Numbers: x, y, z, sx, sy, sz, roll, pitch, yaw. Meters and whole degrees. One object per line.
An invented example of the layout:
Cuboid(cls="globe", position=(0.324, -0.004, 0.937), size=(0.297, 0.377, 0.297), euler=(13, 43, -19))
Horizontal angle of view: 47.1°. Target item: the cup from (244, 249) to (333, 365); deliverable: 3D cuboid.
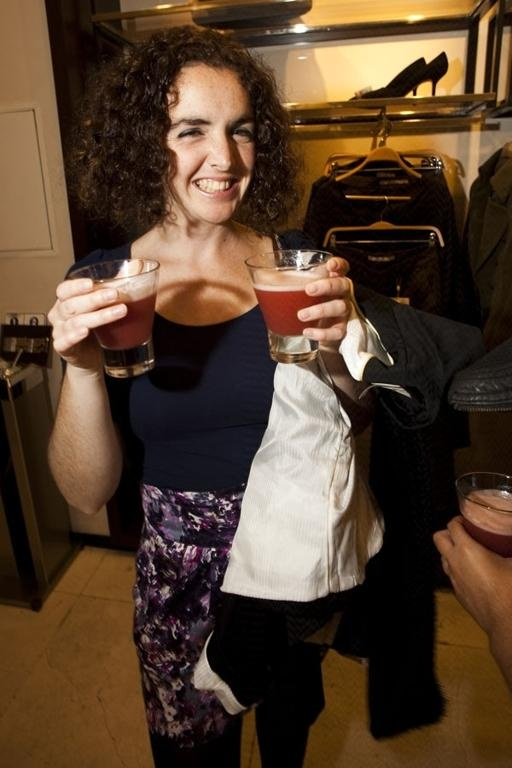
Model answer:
Cuboid(cls="cup", position=(0.050, -0.124, 0.930), size=(0.127, 0.154, 0.152), euler=(3, 22, 15))

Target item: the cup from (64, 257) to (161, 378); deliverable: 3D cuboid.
Cuboid(cls="cup", position=(-0.206, -0.103, 0.926), size=(0.116, 0.178, 0.175), euler=(-18, 26, -34))
